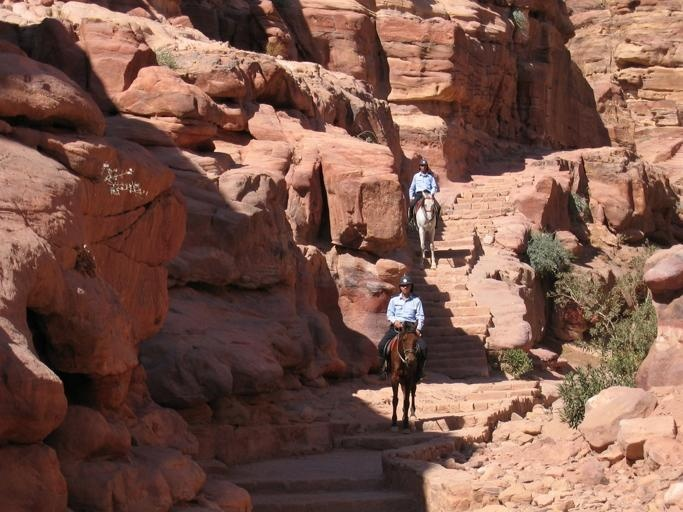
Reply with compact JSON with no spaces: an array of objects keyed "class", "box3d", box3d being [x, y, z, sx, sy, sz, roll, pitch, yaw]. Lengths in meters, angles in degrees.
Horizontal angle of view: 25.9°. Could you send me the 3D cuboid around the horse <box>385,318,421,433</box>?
[{"class":"horse","box3d":[1.368,2.582,32.583,0.779,2.340,1.163,0,5,1]}]
